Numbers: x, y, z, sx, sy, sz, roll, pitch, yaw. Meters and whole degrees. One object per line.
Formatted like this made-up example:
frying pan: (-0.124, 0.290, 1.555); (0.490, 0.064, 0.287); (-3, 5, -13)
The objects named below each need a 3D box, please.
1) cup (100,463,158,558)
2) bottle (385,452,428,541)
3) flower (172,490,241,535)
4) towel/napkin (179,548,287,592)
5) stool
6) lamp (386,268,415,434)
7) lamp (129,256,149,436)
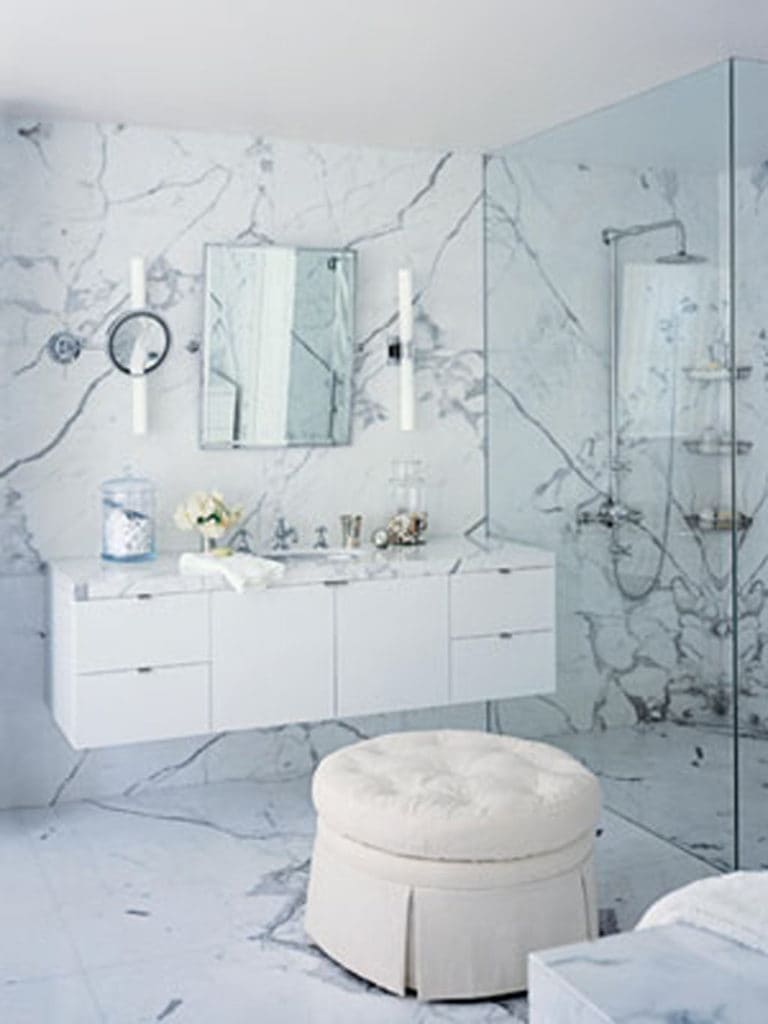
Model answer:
cup: (-0.714, 0.027, 2.915); (0.230, 0.319, 0.216); (0, -1, 0)
bottle: (0.076, -0.037, 3.388); (0.137, 0.272, 0.305); (-1, 5, 3)
flower: (-0.518, 0.000, 2.993); (0.164, 0.068, 0.144); (7, 29, 8)
towel/napkin: (-0.430, 0.175, 2.785); (0.304, 0.081, 0.203); (-1, 4, 5)
stool: (0.165, 0.696, 2.164); (0.628, 0.336, 0.582); (-4, 5, -21)
lamp: (0.048, -0.537, 3.395); (0.114, 0.482, 0.086); (2, 5, -1)
lamp: (-0.743, -0.497, 3.080); (0.064, 0.535, 0.091); (-3, 5, -13)
